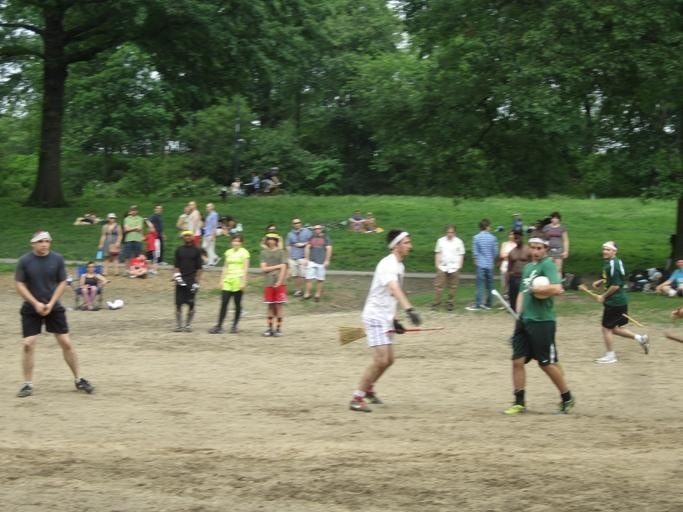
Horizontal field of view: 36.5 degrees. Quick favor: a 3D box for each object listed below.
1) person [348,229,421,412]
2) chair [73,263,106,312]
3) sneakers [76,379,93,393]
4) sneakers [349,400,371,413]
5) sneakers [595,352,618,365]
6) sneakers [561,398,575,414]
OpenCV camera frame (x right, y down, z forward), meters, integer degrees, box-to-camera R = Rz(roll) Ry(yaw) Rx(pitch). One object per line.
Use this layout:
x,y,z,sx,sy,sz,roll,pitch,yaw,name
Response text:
0.732,1.084,17.740,1.030,3.044,1.234,2,18,3,person
-6.133,0.716,25.334,1.046,0.859,1.145,2,14,-13,chair
-4.552,2.302,18.418,0.525,0.156,0.164,8,18,31,sneakers
0.316,2.550,17.701,0.426,0.164,0.174,1,0,7,sneakers
5.103,1.983,20.255,0.556,0.152,0.189,0,-1,15,sneakers
3.838,2.533,17.541,0.160,0.147,0.349,-13,26,29,sneakers
